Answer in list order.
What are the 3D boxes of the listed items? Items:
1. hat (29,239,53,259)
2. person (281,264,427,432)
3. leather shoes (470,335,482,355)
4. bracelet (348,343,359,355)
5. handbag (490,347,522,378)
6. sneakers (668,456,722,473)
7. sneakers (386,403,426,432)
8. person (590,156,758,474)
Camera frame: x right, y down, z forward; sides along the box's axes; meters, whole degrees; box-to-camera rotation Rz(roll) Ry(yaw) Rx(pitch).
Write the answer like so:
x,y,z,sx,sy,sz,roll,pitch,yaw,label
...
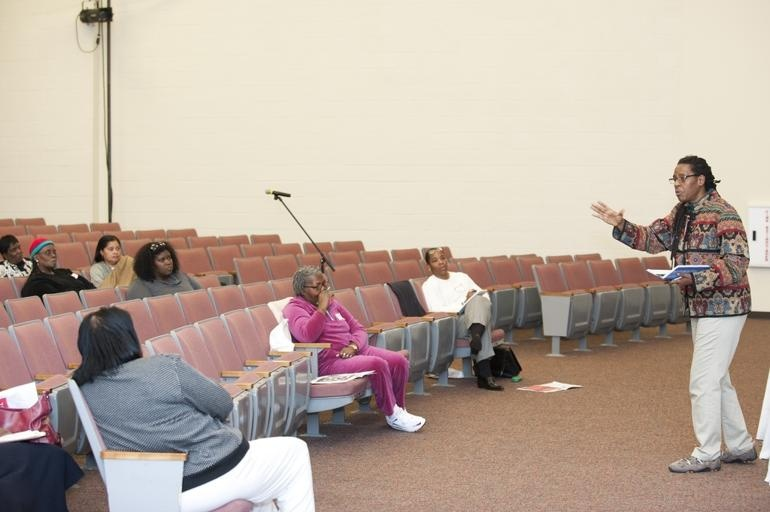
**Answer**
x,y,z,sx,sy,sz,roll,pitch,yaw,label
-3.232,-0.064,5.957,0.175,0.133,0.177,-34,-6,31,hat
-0.271,0.744,5.270,1.293,1.458,0.941,-7,-6,19,person
0.805,0.797,5.696,0.102,0.154,0.047,1,-8,-15,leather shoes
-0.230,0.678,4.704,0.067,0.079,0.068,14,17,33,bracelet
1.120,1.006,5.969,0.157,0.203,0.294,-15,10,-36,handbag
1.917,1.268,3.899,0.324,0.131,0.116,2,-11,4,sneakers
0.149,1.174,4.651,0.337,0.152,0.133,3,17,22,sneakers
1.914,0.338,3.970,0.633,1.920,0.616,-4,7,-29,person
